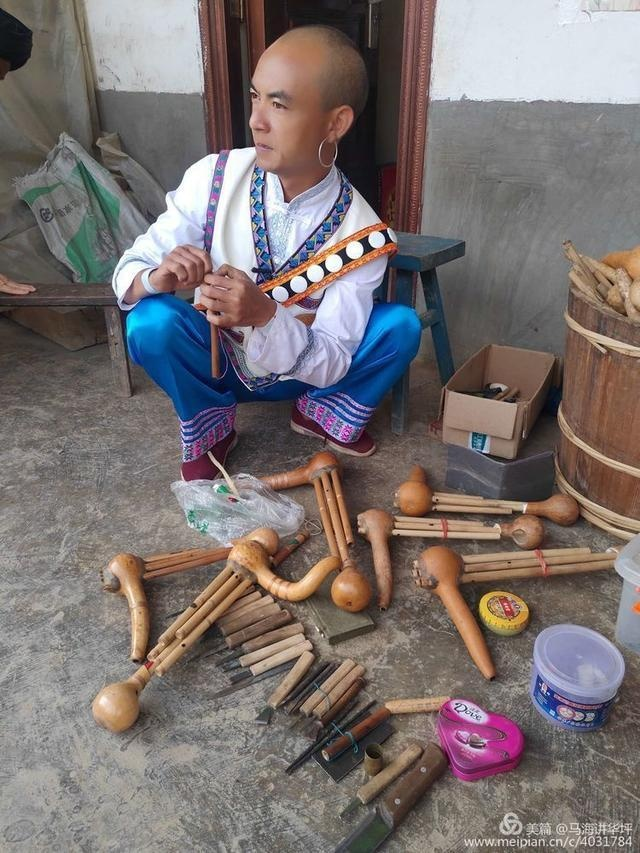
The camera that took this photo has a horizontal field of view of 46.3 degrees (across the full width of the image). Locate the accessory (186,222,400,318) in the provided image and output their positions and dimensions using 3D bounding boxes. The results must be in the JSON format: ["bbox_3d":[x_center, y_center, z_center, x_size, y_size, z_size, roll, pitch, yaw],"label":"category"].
[{"bbox_3d":[-0.135,-0.544,2.937,0.734,0.182,0.849,-1,5,-27],"label":"accessory"}]

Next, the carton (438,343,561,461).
[{"bbox_3d":[0.713,-0.115,2.962,0.355,0.193,0.549,18,38,27],"label":"carton"}]

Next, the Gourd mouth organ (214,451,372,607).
[{"bbox_3d":[-0.008,0.343,2.330,0.372,0.146,0.480,-16,32,6],"label":"Gourd mouth organ"}]

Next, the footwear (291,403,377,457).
[{"bbox_3d":[0.047,0.044,3.097,0.435,0.157,0.143,24,45,24],"label":"footwear"}]

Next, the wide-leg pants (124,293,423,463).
[{"bbox_3d":[-0.226,-0.162,2.926,1.251,0.591,0.625,1,34,-10],"label":"wide-leg pants"}]

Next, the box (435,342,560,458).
[{"bbox_3d":[0.707,-0.115,2.962,0.358,0.198,0.539,15,37,22],"label":"box"}]

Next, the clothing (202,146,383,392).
[{"bbox_3d":[-0.103,-0.522,2.509,0.731,0.654,0.382,29,51,6],"label":"clothing"}]

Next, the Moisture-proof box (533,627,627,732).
[{"bbox_3d":[0.625,0.613,1.841,0.199,0.185,0.213,-25,38,-34],"label":"Moisture-proof box"}]

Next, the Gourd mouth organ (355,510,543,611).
[{"bbox_3d":[0.428,0.378,2.347,0.647,0.102,0.388,-2,26,-13],"label":"Gourd mouth organ"}]

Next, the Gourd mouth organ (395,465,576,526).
[{"bbox_3d":[0.542,0.226,2.534,0.640,0.134,0.210,0,2,8],"label":"Gourd mouth organ"}]

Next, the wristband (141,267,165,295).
[{"bbox_3d":[-0.555,-0.468,2.426,0.084,0.063,0.067,-37,88,-32],"label":"wristband"}]

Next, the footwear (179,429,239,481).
[{"bbox_3d":[-0.391,0.105,2.814,0.099,0.104,0.276,29,48,17],"label":"footwear"}]

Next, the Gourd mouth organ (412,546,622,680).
[{"bbox_3d":[0.575,0.530,2.260,0.513,0.098,0.332,-4,33,-15],"label":"Gourd mouth organ"}]

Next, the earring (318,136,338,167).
[{"bbox_3d":[0.020,-0.882,2.400,0.014,0.116,0.104,4,13,39],"label":"earring"}]

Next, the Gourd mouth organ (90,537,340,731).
[{"bbox_3d":[-0.303,0.585,2.072,0.659,0.146,0.310,-26,39,-27],"label":"Gourd mouth organ"}]
